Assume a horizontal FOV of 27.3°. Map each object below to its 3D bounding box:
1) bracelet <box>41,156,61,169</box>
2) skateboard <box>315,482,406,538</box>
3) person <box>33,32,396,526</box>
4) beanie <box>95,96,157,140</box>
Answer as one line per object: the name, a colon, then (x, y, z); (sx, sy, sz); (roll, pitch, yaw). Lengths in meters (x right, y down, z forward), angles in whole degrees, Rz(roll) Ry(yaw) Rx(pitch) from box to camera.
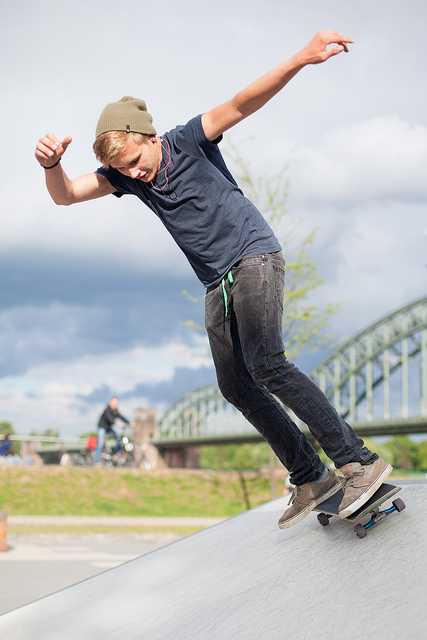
bracelet: (-0.659, -0.637, 3.544); (0.073, 0.060, 0.109); (6, -7, -10)
skateboard: (0.556, 0.692, 3.279); (0.195, 0.100, 0.366); (-24, 10, -27)
person: (0.117, -0.072, 3.348); (1.104, 1.697, 0.657); (3, -8, 20)
beanie: (-0.333, -0.780, 3.367); (0.210, 0.199, 0.151); (9, -8, -28)
